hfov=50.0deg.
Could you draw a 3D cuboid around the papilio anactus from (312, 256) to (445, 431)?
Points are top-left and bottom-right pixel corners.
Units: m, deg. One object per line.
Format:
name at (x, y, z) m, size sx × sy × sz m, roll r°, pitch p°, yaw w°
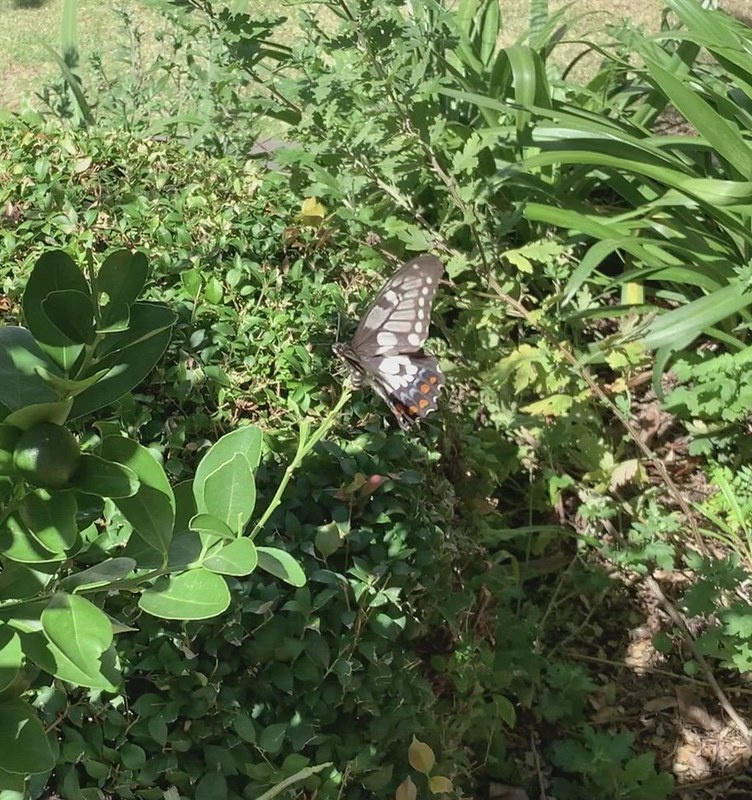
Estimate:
papilio anactus at (-0.003, -0.133, 1.990) m, size 0.334 × 0.412 × 0.309 m, roll 9°, pitch 56°, yaw 10°
